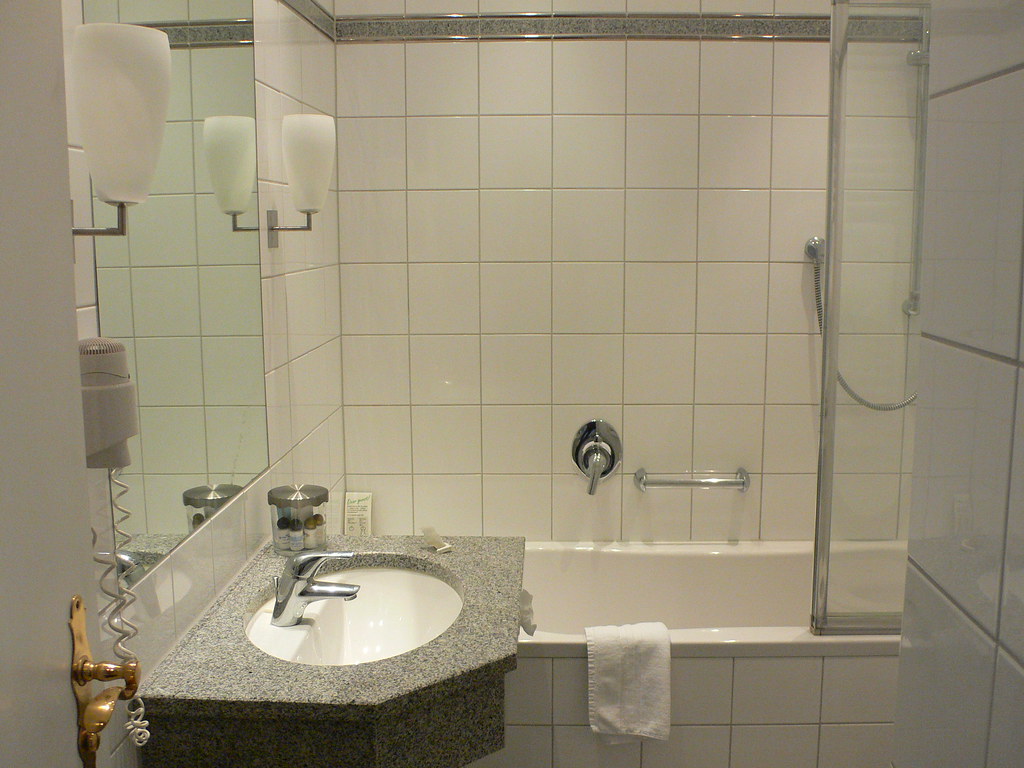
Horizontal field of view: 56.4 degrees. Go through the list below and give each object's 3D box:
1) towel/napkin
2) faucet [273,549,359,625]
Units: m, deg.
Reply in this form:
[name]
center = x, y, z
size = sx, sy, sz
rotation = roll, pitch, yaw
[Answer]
[towel/napkin]
center = 0.292, 0.737, 2.422
size = 0.204, 0.087, 0.279
rotation = -2, -87, 1
[faucet]
center = -0.432, 0.446, 2.119
size = 0.204, 0.158, 0.163
rotation = -2, -75, 1
